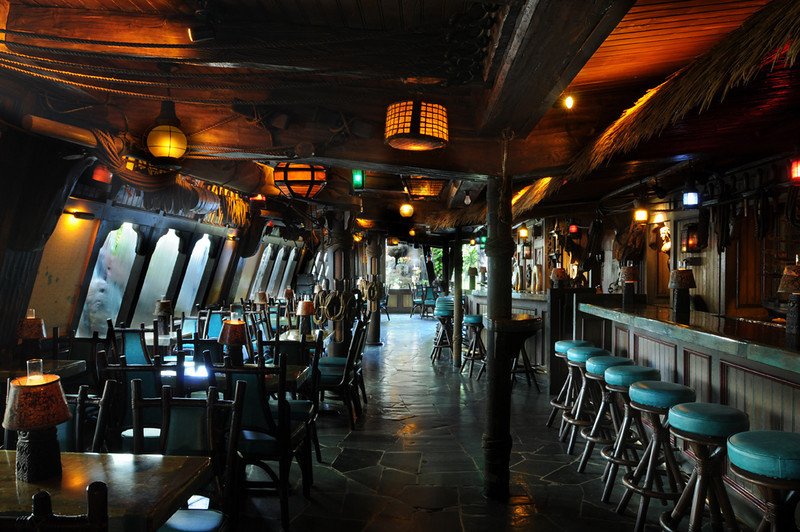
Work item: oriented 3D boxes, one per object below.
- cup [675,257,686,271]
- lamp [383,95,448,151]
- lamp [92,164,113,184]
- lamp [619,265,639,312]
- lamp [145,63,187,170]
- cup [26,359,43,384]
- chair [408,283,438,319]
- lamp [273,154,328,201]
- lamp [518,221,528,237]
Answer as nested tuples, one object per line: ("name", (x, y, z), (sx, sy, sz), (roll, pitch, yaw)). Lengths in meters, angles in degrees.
("cup", (5.092, -0.054, 10.301), (0.130, 0.188, 0.454), (0, 4, 18))
("lamp", (0.139, -1.193, 4.993), (0.492, 0.271, 0.466), (3, -5, -18))
("lamp", (-3.604, -1.114, 6.907), (0.249, 0.215, 0.136), (5, 28, -38))
("lamp", (2.783, 0.266, 6.967), (0.260, 0.533, 0.245), (1, -2, -7))
("lamp", (-2.242, -1.432, 5.481), (0.346, 0.887, 0.726), (-3, 4, -23))
("cup", (-2.319, 0.650, 3.624), (0.078, 0.151, 0.287), (-4, 5, -34))
("chair", (0.930, 1.408, 22.382), (1.373, 1.567, 1.220), (3, 3, 3))
("lamp", (-1.231, -1.063, 6.999), (0.559, 0.384, 0.473), (3, 4, 17))
("lamp", (3.319, -0.938, 15.291), (0.367, 0.399, 0.348), (-2, 4, -13))
